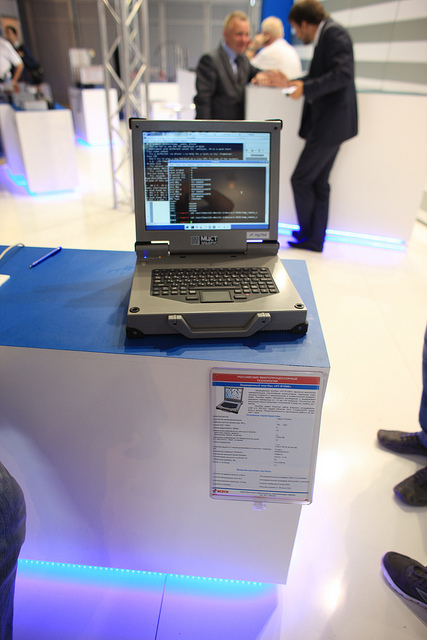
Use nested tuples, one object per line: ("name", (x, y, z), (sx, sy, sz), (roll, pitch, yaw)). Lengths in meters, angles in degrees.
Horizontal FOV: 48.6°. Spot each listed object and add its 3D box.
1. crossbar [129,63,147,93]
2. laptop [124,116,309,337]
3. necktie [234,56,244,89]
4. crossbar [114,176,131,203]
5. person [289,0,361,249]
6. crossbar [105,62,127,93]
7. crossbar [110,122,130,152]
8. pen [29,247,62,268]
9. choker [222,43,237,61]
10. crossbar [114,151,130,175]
("crossbar", (-0.608, -1.922, 3.744), (0.135, 0.219, 0.279), (-4, 32, -8))
("laptop", (-0.016, -0.197, 0.969), (0.353, 0.354, 0.387), (-3, 31, -6))
("necktie", (0.186, -1.704, 3.244), (0.065, 0.189, 0.101), (20, 35, 29))
("crossbar", (-0.820, -1.197, 4.243), (0.128, 0.244, 0.393), (-4, 32, -9))
("person", (0.641, -1.149, 2.968), (0.261, 1.427, 0.441), (-19, 35, -31))
("crossbar", (-0.802, -1.986, 3.847), (0.149, 0.203, 0.537), (-5, 33, -11))
("crossbar", (-0.841, -1.667, 4.174), (0.141, 0.217, 0.784), (-5, 33, -10))
("pen", (-0.446, -0.168, 1.258), (0.016, 0.017, 0.158), (4, 30, 25))
("choker", (0.101, -1.784, 3.139), (0.102, 0.091, 0.028), (-19, 35, -29))
("crossbar", (-0.796, -1.386, 4.073), (0.139, 0.207, 0.342), (-5, 32, -9))
